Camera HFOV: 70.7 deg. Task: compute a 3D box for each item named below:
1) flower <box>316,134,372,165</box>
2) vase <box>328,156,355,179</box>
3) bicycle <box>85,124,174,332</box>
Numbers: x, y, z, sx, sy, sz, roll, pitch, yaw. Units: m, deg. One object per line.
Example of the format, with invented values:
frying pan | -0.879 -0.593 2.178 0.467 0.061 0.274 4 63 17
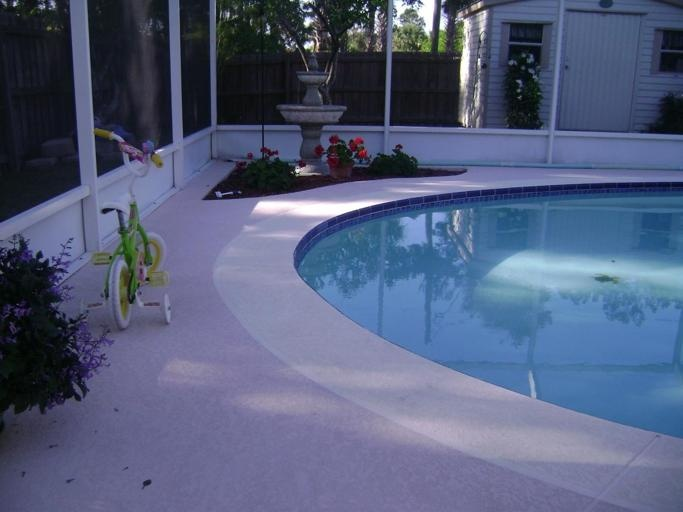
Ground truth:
flower | -0.065 -1.811 8.373 0.660 0.559 0.929 -6 14 -38
vase | -0.028 -1.479 8.086 0.331 0.245 0.339 17 23 34
bicycle | -1.454 -0.245 3.606 0.601 1.069 1.593 1 21 -8
